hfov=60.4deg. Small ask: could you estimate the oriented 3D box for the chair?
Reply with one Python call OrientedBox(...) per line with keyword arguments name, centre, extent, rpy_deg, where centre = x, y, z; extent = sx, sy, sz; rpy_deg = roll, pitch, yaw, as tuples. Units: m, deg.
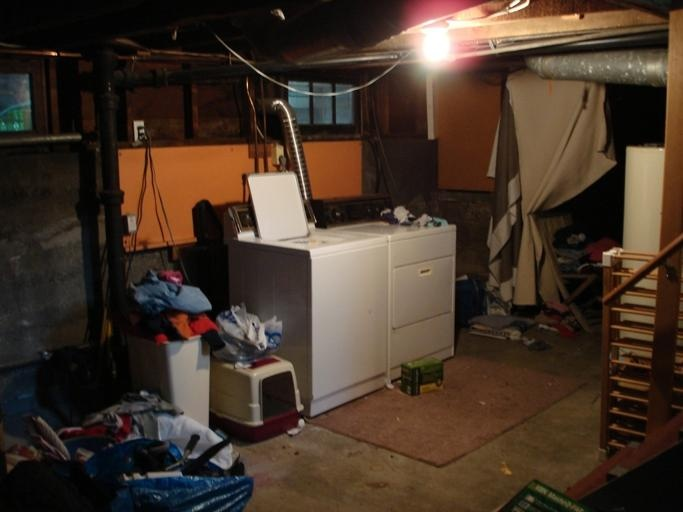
OrientedBox(name="chair", centre=(2.378, 0.099, 6.185), extent=(0.671, 1.089, 0.824), rpy_deg=(7, 16, 26))
